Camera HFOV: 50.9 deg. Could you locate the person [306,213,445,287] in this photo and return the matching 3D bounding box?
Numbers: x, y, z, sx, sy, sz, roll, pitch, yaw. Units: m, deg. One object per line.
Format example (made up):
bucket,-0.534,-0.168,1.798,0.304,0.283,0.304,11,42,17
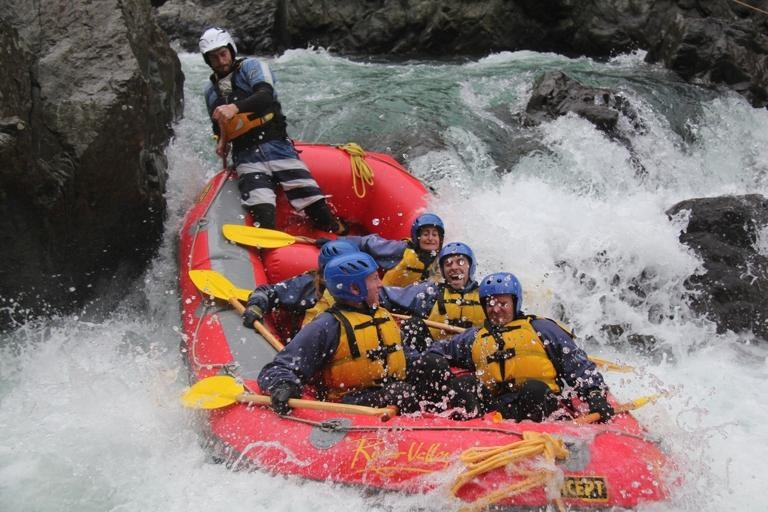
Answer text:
person,0.020,-0.191,9.103,1.352,0.993,0.598,2,98,15
